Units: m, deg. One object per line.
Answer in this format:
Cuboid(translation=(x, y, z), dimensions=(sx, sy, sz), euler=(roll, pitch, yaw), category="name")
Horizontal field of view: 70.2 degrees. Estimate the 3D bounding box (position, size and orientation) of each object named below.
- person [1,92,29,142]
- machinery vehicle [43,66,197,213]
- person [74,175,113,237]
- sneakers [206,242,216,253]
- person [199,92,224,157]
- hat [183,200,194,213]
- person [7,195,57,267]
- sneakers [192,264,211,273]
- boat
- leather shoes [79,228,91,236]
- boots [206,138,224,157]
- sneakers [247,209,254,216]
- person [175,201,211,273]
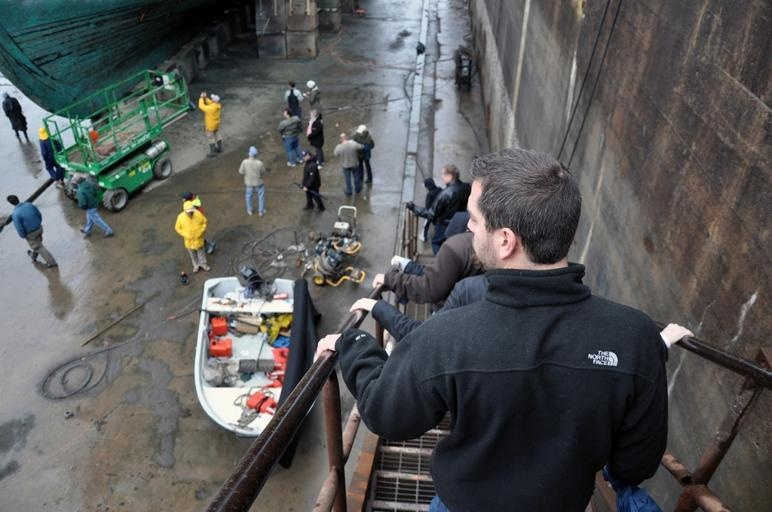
Cuboid(translation=(-11.269, -4.281, 16.940), dimensions=(0.496, 1.258, 1.000), euler=(-15, 31, -30), category="person")
Cuboid(translation=(-6.595, -3.088, 14.343), dimensions=(1.706, 2.267, 3.301), euler=(17, 42, 21), category="machinery vehicle")
Cuboid(translation=(-6.805, -1.199, 12.826), dimensions=(0.611, 1.353, 1.188), euler=(-14, 31, -28), category="person")
Cuboid(translation=(-3.951, -0.206, 12.459), dimensions=(0.098, 0.137, 0.338), euler=(5, 35, -11), category="sneakers")
Cuboid(translation=(-4.827, -3.655, 15.315), dimensions=(0.511, 1.774, 1.029), euler=(-7, 28, -18), category="person")
Cuboid(translation=(-3.991, -0.999, 11.220), dimensions=(0.190, 0.210, 0.276), euler=(-7, 29, -18), category="hat")
Cuboid(translation=(-7.514, -0.562, 11.834), dimensions=(0.534, 1.607, 0.721), euler=(-16, 31, -32), category="person")
Cuboid(translation=(-3.971, 0.260, 11.910), dimensions=(0.409, 0.189, 0.144), euler=(-9, 42, 3), category="sneakers")
Cuboid(translation=(-2.387, 1.795, 9.670), dimensions=(1.830, 0.858, 3.528), euler=(3, 37, -13), category="boat")
Cuboid(translation=(-6.968, -0.569, 12.872), dimensions=(0.183, 0.127, 0.271), euler=(-7, 4, -5), category="leather shoes")
Cuboid(translation=(-4.878, -3.112, 15.847), dimensions=(0.438, 0.539, 0.452), euler=(-25, 49, -29), category="boots")
Cuboid(translation=(-3.334, -1.062, 13.489), dimensions=(0.072, 0.069, 0.154), euler=(0, 29, -2), category="sneakers")
Cuboid(translation=(-4.115, -0.502, 11.785), dimensions=(0.553, 1.627, 1.063), euler=(-8, 28, -19), category="person")
